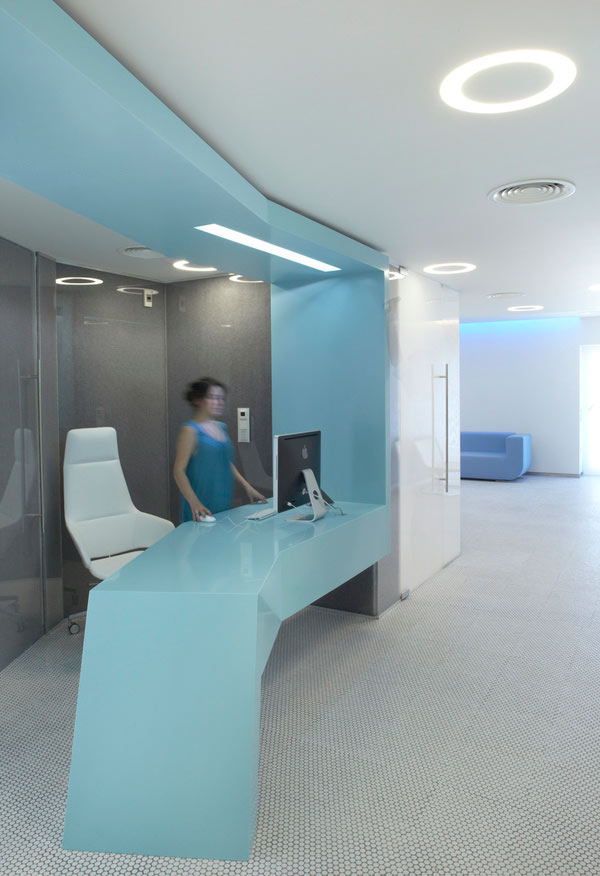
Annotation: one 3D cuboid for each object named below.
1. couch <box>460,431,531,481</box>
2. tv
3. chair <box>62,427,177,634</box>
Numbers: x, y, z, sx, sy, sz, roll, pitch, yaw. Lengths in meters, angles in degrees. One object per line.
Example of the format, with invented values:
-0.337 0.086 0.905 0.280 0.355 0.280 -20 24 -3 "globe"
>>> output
3.512 0.334 10.558 1.484 0.899 0.761 6 -2 27 "couch"
0.044 0.216 3.347 0.150 0.507 0.467 5 7 33 "tv"
-1.298 0.374 3.959 0.537 0.891 0.672 1 2 42 "chair"
